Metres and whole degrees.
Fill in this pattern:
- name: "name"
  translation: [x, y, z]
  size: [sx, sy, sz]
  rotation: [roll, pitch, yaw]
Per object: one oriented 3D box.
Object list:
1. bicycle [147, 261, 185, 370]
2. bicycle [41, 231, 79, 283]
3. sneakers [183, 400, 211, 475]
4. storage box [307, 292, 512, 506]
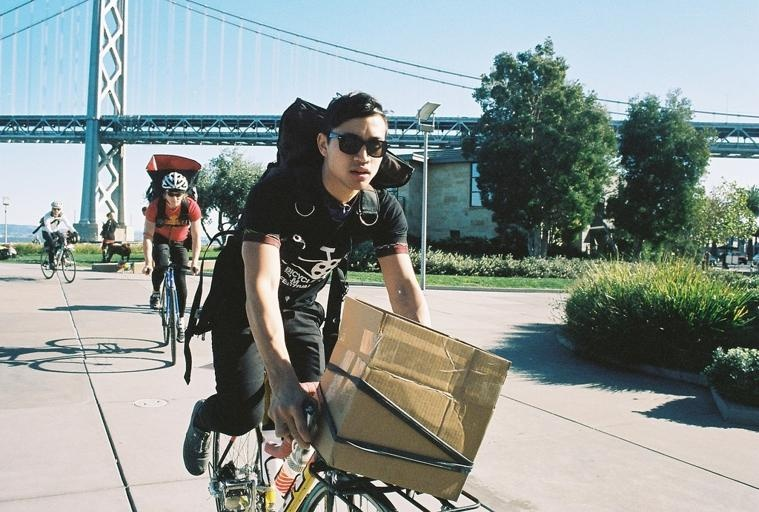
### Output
- name: "bicycle"
  translation: [-2.746, 0.740, 9.162]
  size: [0.301, 1.223, 0.873]
  rotation: [1, 5, -18]
- name: "bicycle"
  translation: [-8.397, -0.035, 17.442]
  size: [0.867, 1.150, 1.751]
  rotation: [8, -2, -41]
- name: "sneakers"
  translation: [-1.374, 1.395, 5.158]
  size: [0.199, 0.608, 0.257]
  rotation: [-5, 10, -34]
- name: "storage box"
  translation: [0.155, 0.871, 4.538]
  size: [1.125, 1.118, 1.130]
  rotation: [22, 4, -3]
